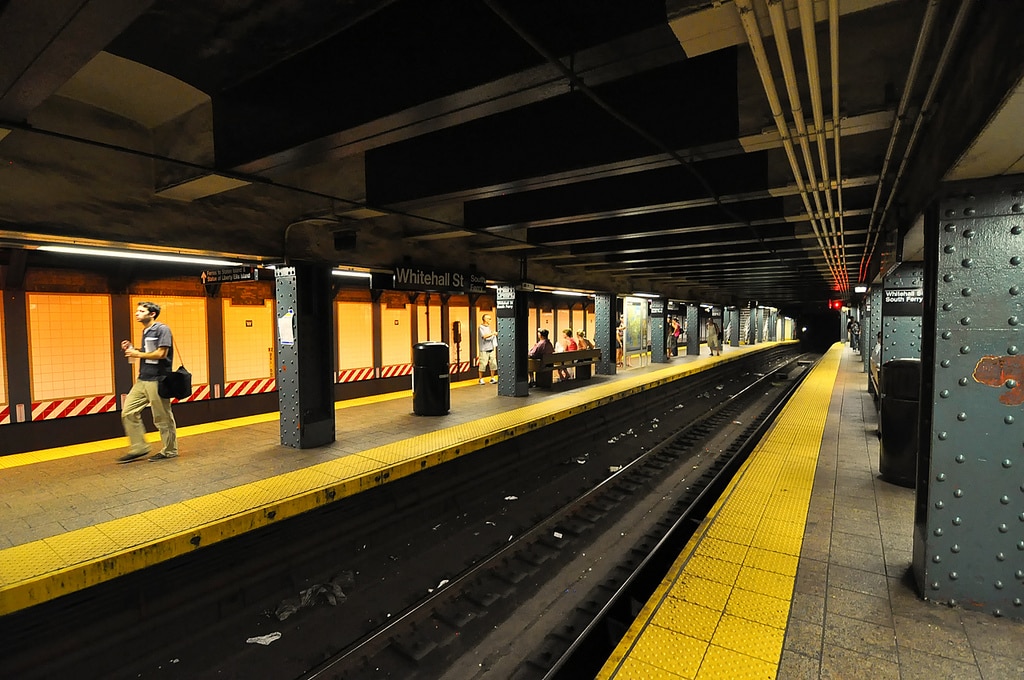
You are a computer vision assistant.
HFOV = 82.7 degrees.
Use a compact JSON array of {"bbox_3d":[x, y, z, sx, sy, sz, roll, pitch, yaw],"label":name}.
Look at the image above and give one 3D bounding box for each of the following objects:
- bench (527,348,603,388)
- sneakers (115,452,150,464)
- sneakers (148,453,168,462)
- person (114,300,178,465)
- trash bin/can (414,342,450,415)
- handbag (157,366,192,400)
[{"bbox_3d":[1.353,0.734,15.334,1.071,0.866,2.822,0,3,22],"label":"bench"},{"bbox_3d":[-5.318,1.647,8.172,0.425,0.151,0.145,-2,-10,-21],"label":"sneakers"},{"bbox_3d":[-4.998,1.661,8.227,0.105,0.059,0.186,-3,-8,45],"label":"sneakers"},{"bbox_3d":[-5.076,0.587,8.070,0.709,2.183,0.555,-1,3,-5],"label":"person"},{"bbox_3d":[-1.518,0.738,10.942,0.645,1.336,0.426,-2,3,-11],"label":"trash bin/can"},{"bbox_3d":[-4.679,0.624,8.036,0.380,0.409,0.225,-4,4,-42],"label":"handbag"}]
